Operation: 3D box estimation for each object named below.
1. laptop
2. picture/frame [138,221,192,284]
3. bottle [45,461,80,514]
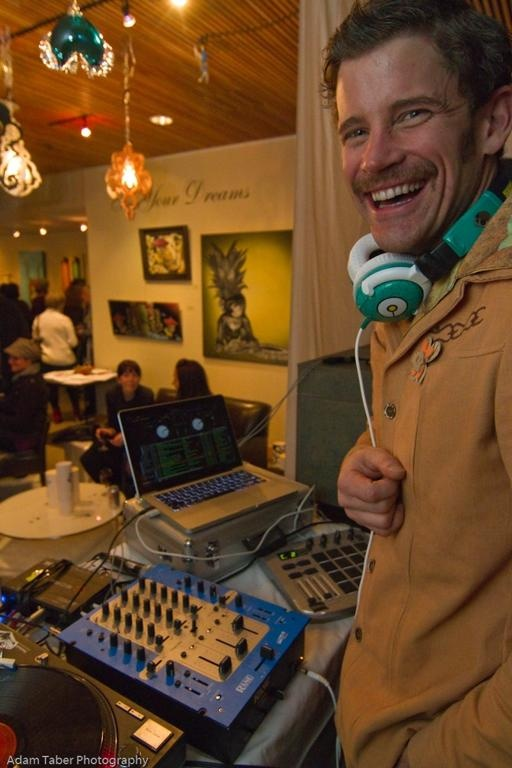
[{"bbox_3d":[-0.098,0.114,1.393,0.305,0.205,0.359,12,17,43],"label":"laptop"},{"bbox_3d":[-0.791,-1.192,5.541,0.615,0.491,0.049,10,21,39],"label":"picture/frame"},{"bbox_3d":[-0.817,0.428,2.621,0.138,0.214,0.357,-9,3,-18],"label":"bottle"}]
